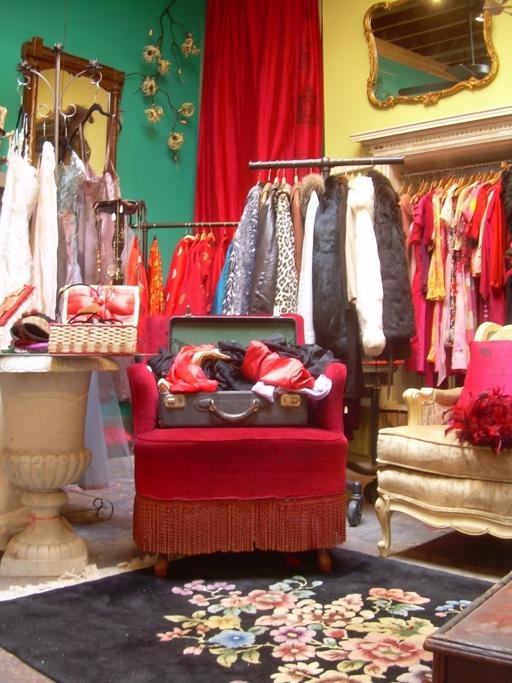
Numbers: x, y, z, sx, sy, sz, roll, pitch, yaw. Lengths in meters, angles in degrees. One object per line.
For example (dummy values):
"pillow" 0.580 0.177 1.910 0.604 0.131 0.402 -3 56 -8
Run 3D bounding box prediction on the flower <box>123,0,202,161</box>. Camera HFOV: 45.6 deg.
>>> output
"flower" -0.675 -2.030 4.621 0.220 1.251 0.661 -1 -4 25

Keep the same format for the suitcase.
"suitcase" -0.088 0.107 1.966 0.391 0.250 0.384 0 -4 0

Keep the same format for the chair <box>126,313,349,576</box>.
"chair" 0.048 0.368 1.921 0.626 0.767 0.611 0 -11 -5
